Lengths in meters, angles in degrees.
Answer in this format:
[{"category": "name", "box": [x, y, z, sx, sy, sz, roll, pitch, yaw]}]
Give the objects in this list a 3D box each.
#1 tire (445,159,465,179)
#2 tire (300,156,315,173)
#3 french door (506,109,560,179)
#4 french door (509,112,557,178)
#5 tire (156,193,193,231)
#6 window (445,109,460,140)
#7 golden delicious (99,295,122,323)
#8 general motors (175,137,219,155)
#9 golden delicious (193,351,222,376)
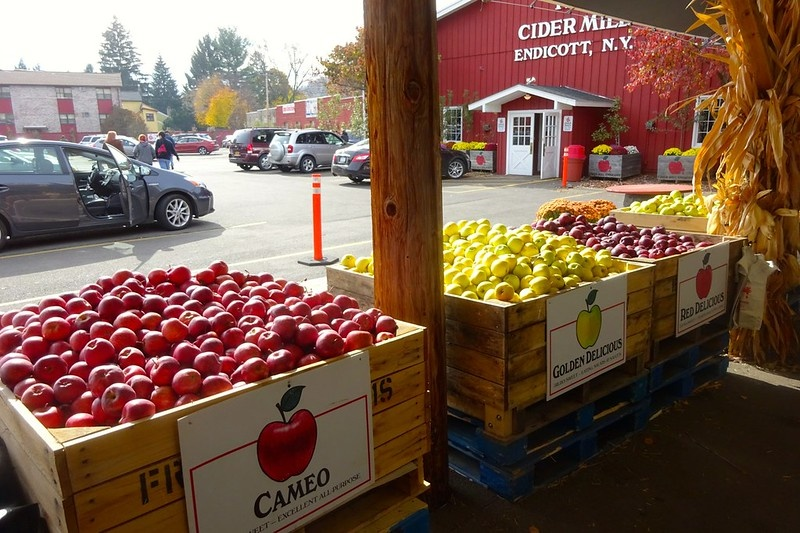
[{"category": "tire", "box": [2.196, -4.124, 20.151, 0.644, 0.660, 0.264, -13, 24, -33]}, {"category": "tire", "box": [-4.336, -4.821, 22.518, 0.206, 0.594, 0.592, 18, 31, 31]}, {"category": "french door", "box": [5.782, -5.436, 21.098, 2.584, 3.180, 2.084, 9, 16, 37]}, {"category": "french door", "box": [5.773, -5.398, 21.110, 2.399, 2.928, 1.919, 9, 17, 38]}, {"category": "tire", "box": [-4.998, -1.217, 11.029, 0.769, 0.814, 0.273, -1, -3, 4]}, {"category": "window", "box": [2.650, -7.347, 24.733, 0.079, 1.639, 1.188, -23, 34, -38]}, {"category": "golden delicious", "box": [-1.622, 0.240, 2.718, 0.124, 0.148, 0.122, 15, 4, 39]}, {"category": "general motors", "box": [-19.902, -11.812, 47.171, 3.986, 1.353, 1.915, 3, 18, -7]}, {"category": "golden delicious", "box": [-0.930, 0.477, 2.367, 0.103, 0.111, 0.111, -29, 28, -8]}]
